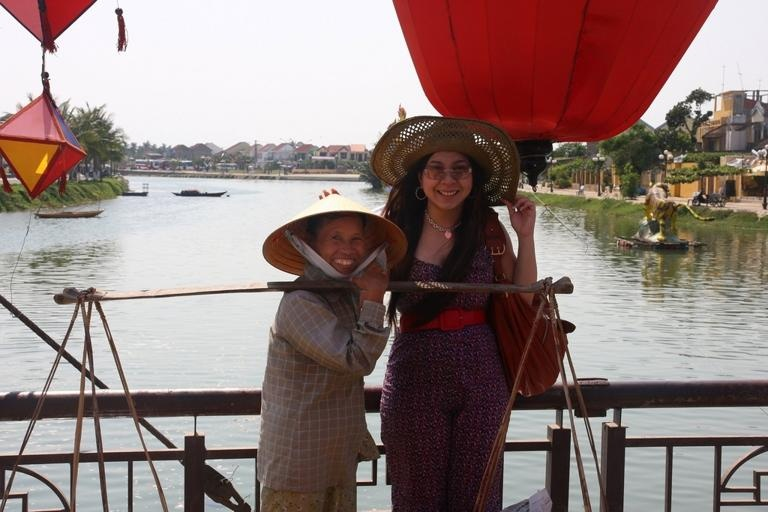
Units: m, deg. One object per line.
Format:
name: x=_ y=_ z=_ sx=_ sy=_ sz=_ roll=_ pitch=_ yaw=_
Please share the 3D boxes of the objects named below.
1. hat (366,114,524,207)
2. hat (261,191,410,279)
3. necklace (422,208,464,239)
hat: x=0.311 y=-0.526 z=4.191 sx=0.662 sy=0.601 sz=0.183 roll=4 pitch=51 yaw=10
hat: x=-0.226 y=-0.090 z=4.090 sx=0.498 sy=0.462 sz=0.227 roll=7 pitch=55 yaw=-11
necklace: x=0.284 y=-0.159 z=4.252 sx=0.157 sy=0.035 sz=0.119 roll=19 pitch=44 yaw=3
